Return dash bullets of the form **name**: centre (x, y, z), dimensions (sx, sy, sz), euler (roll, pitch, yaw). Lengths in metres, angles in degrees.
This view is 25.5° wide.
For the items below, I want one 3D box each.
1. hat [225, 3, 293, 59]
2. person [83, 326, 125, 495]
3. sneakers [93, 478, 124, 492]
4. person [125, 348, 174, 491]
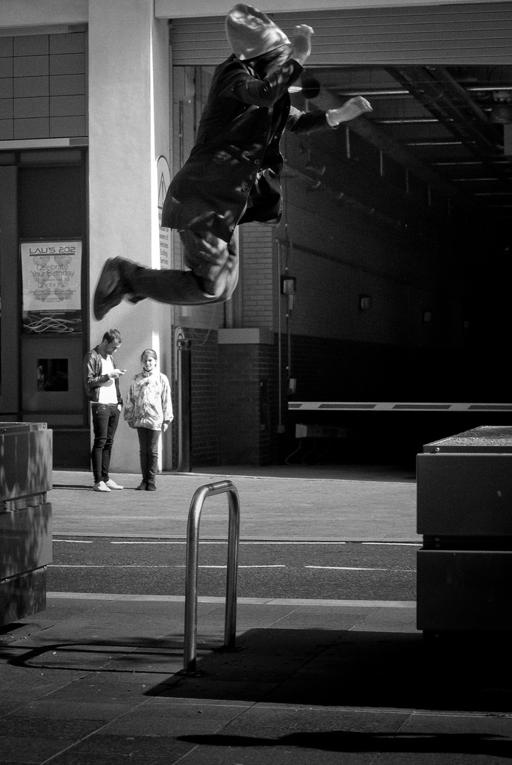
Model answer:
- **hat**: centre (-0.009, -1.510, 4.914), dimensions (0.193, 0.201, 0.265), euler (32, 6, -11)
- **person**: centre (-1.827, 0.344, 13.603), dimensions (0.422, 1.962, 0.810), euler (0, 2, -7)
- **sneakers**: centre (-1.821, 1.250, 13.957), dimensions (0.342, 0.164, 0.135), euler (3, 4, -42)
- **person**: centre (-1.320, 0.454, 13.852), dimensions (0.564, 1.715, 0.474), euler (0, 2, -8)
